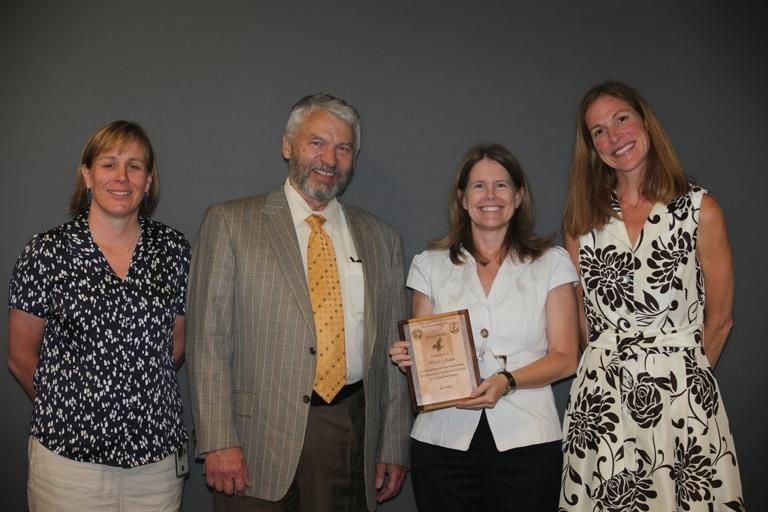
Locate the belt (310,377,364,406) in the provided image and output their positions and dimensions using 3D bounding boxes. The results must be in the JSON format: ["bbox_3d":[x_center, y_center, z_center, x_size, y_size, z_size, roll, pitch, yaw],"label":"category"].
[{"bbox_3d":[-0.284,0.731,3.986,0.185,0.053,0.136,-22,6,-22],"label":"belt"}]
